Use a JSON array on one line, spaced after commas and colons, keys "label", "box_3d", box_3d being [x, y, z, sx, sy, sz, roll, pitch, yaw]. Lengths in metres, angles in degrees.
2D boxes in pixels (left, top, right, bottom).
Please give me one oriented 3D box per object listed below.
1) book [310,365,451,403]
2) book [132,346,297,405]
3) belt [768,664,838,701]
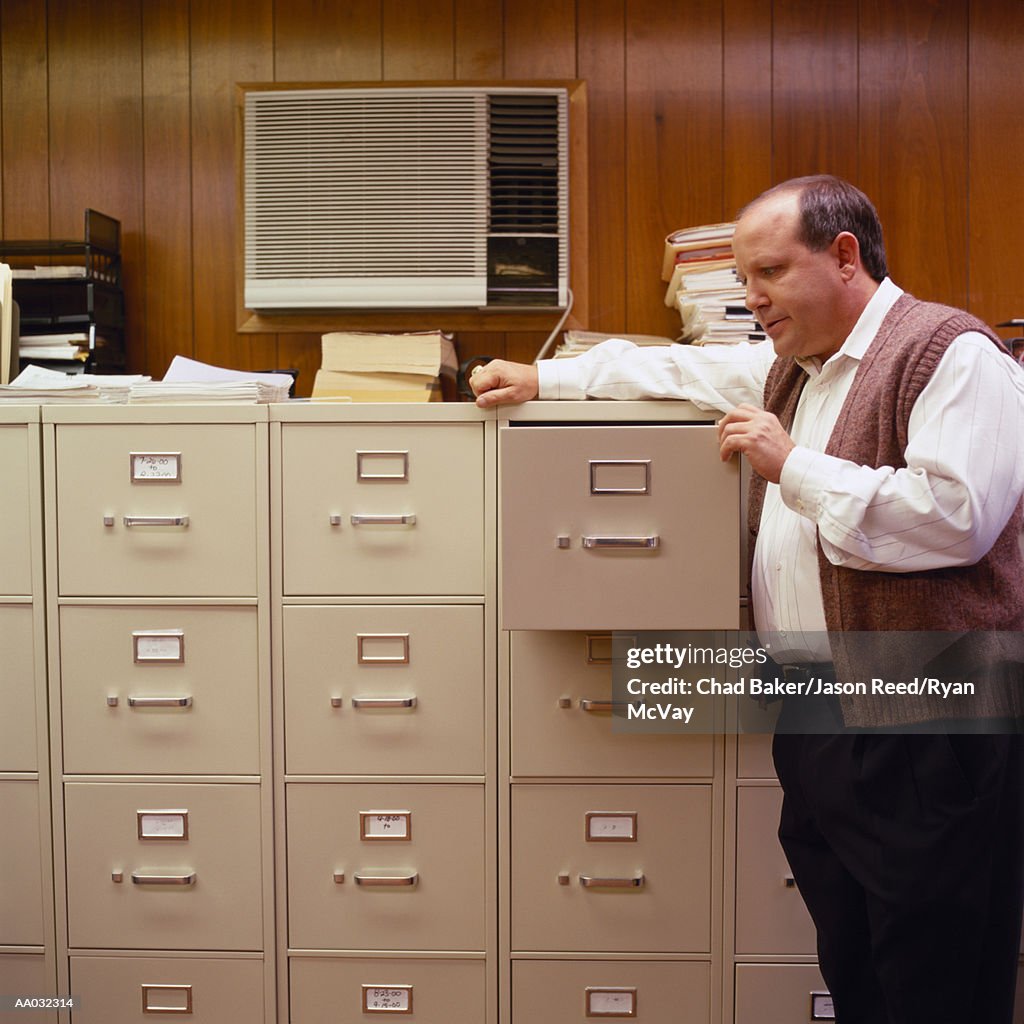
[{"label": "book", "box_3d": [-0.309, -0.279, 3.014, 0.144, 0.055, 0.146, 4, -3, -39]}, {"label": "book", "box_3d": [-0.624, -0.276, 2.810, 0.312, 0.082, 0.292, -6, 13, -6]}, {"label": "belt", "box_3d": [0.518, 0.308, 2.405, 0.078, 0.037, 0.061, -2, 2, 28]}]
